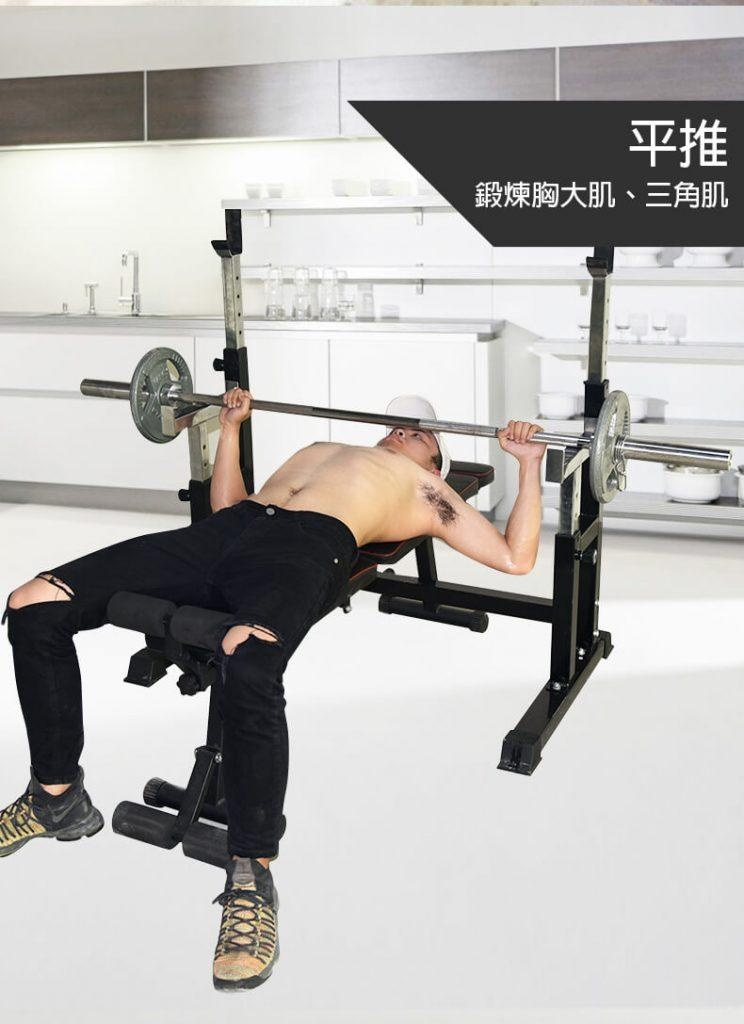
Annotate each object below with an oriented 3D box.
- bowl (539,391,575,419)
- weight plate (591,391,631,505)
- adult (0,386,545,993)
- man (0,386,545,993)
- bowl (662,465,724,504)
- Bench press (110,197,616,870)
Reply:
[{"bbox_3d":[0.810,-0.465,4.128,0.128,0.077,0.124,0,6,0],"label":"bowl"},{"bbox_3d":[0.538,-0.144,2.127,0.072,0.262,0.268,6,-3,25],"label":"weight plate"},{"bbox_3d":[-0.124,0.183,1.988,0.696,0.565,1.351,8,18,22],"label":"adult"},{"bbox_3d":[-0.128,0.223,1.990,0.696,0.565,1.351,8,18,22],"label":"man"},{"bbox_3d":[1.369,-0.111,4.041,0.189,0.115,0.175,1,2,0],"label":"bowl"},{"bbox_3d":[-0.016,-0.080,2.111,1.238,1.176,1.355,5,13,10],"label":"Bench press"}]
